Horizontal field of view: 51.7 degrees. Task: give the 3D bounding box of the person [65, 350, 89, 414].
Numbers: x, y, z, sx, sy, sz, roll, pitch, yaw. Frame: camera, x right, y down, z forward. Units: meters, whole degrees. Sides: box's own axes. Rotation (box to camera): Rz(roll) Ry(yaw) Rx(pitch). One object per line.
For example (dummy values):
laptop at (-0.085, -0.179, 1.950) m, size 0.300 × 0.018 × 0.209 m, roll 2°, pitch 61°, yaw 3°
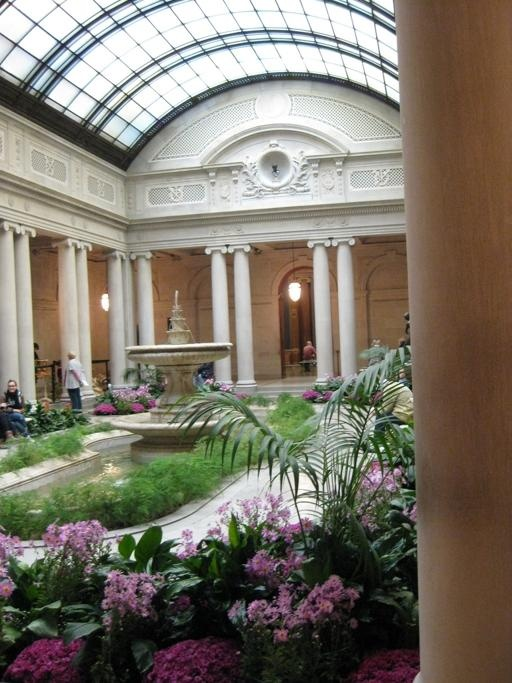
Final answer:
person at (-5.185, 1.126, 15.150) m, size 0.551 × 1.467 × 2.188 m, roll -3°, pitch 0°, yaw -20°
